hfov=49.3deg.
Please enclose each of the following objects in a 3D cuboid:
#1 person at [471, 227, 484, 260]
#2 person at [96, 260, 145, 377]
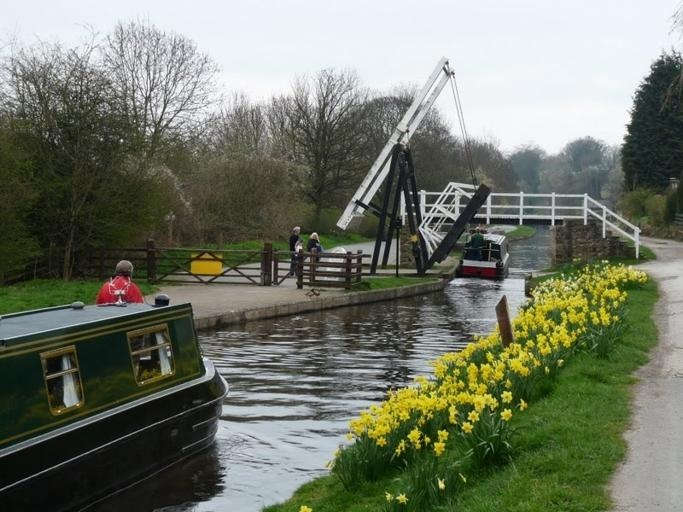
[{"bbox_3d":[6.560,-0.556,36.015,0.643,1.473,1.668,1,3,10],"label":"person"},{"bbox_3d":[-3.451,0.665,11.841,0.670,1.083,0.525,0,12,-2],"label":"person"}]
